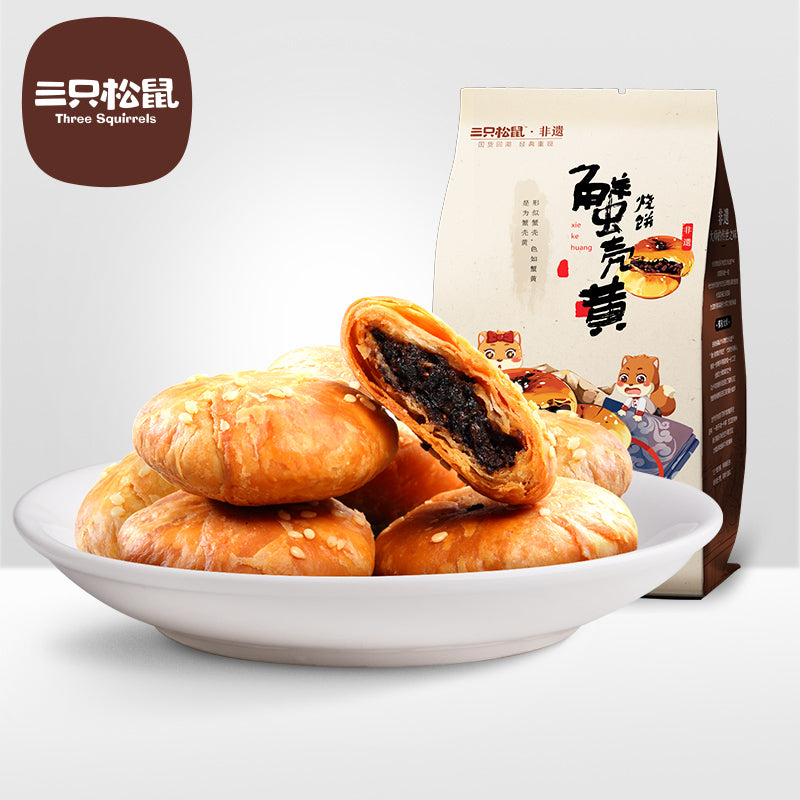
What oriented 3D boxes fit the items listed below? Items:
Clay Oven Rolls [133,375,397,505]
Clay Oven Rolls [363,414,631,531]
[{"bbox_3d":[-0.128,0.033,0.808,0.191,0.064,0.164,2,1,14],"label":"Clay Oven Rolls"},{"bbox_3d":[0.108,0.077,1.013,0.229,0.056,0.185,-2,0,39],"label":"Clay Oven Rolls"}]
